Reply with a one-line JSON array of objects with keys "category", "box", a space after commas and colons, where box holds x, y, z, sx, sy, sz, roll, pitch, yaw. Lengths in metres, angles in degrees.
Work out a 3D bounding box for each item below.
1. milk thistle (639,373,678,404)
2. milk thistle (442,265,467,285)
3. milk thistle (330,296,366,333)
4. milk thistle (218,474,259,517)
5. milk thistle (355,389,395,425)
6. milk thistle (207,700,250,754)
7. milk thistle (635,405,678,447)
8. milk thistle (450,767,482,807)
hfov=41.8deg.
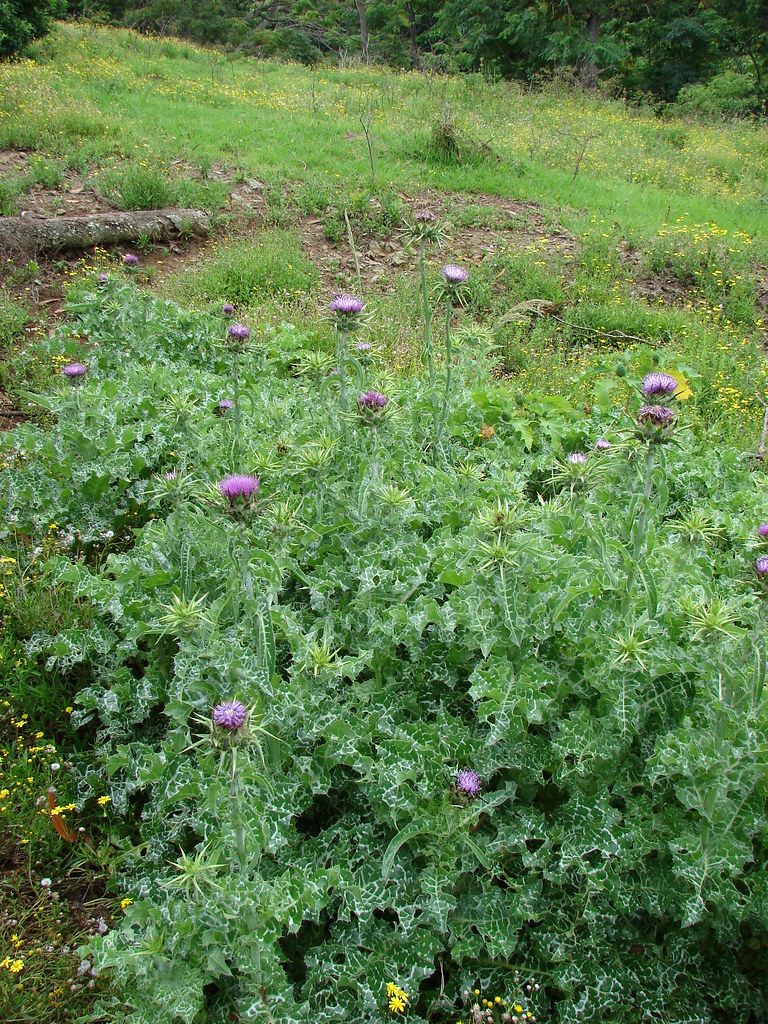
[{"category": "milk thistle", "box": [0.797, -0.352, 2.858, 0.092, 0.091, 0.091, -4, 32, -2]}, {"category": "milk thistle", "box": [0.266, -0.877, 3.686, 0.082, 0.039, 0.081, 3, 15, 2]}, {"category": "milk thistle", "box": [-0.120, -0.690, 3.479, 0.117, 0.114, 0.116, 4, 21, 9]}, {"category": "milk thistle", "box": [-0.394, -0.048, 2.776, 0.102, 0.110, 0.100, 14, 26, 26]}, {"category": "milk thistle", "box": [-0.034, -0.342, 3.275, 0.102, 0.110, 0.111, 26, 50, 33]}, {"category": "milk thistle", "box": [-0.364, 0.513, 2.410, 0.109, 0.106, 0.107, 4, 27, -4]}, {"category": "milk thistle", "box": [0.743, -0.240, 2.789, 0.108, 0.108, 0.107, -18, 35, -16]}, {"category": "milk thistle", "box": [0.240, 0.785, 2.860, 0.093, 0.093, 0.096, 1, 8, 5]}]
